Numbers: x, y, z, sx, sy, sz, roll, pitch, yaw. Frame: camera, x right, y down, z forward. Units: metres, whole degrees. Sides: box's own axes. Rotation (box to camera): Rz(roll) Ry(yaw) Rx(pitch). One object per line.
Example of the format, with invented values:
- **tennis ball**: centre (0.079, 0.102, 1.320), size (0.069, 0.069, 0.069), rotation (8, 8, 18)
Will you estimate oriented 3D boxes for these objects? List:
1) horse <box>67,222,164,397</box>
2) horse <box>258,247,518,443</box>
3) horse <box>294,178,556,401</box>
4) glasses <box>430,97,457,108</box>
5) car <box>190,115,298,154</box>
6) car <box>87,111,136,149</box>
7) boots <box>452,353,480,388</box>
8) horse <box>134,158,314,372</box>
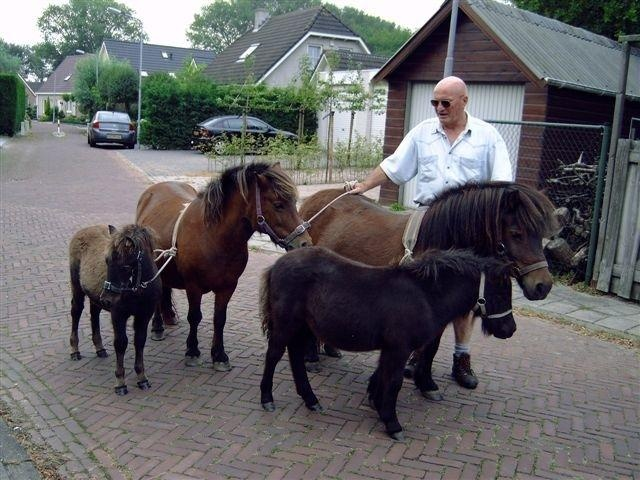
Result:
- **horse**: centre (-2.123, 0.597, 5.739), size (1.178, 1.633, 0.529), rotation (15, 19, 41)
- **horse**: centre (0.611, 0.986, 5.132), size (1.525, 1.210, 0.488), rotation (6, 3, 18)
- **horse**: centre (0.869, 0.385, 5.861), size (3.165, 2.150, 0.853), rotation (9, 19, 41)
- **glasses**: centre (1.142, -1.304, 5.329), size (0.110, 0.076, 0.260), rotation (-7, 18, -29)
- **car**: centre (-3.192, -4.315, 25.659), size (5.128, 1.854, 2.365), rotation (-7, 17, -16)
- **car**: centre (-10.671, -5.583, 28.599), size (2.404, 1.796, 1.725), rotation (2, 15, 0)
- **boots**: centre (1.536, 1.384, 5.953), size (0.145, 0.297, 0.430), rotation (2, 6, -16)
- **horse**: centre (-1.289, 0.273, 6.323), size (0.963, 2.365, 3.019), rotation (-5, 12, -40)
